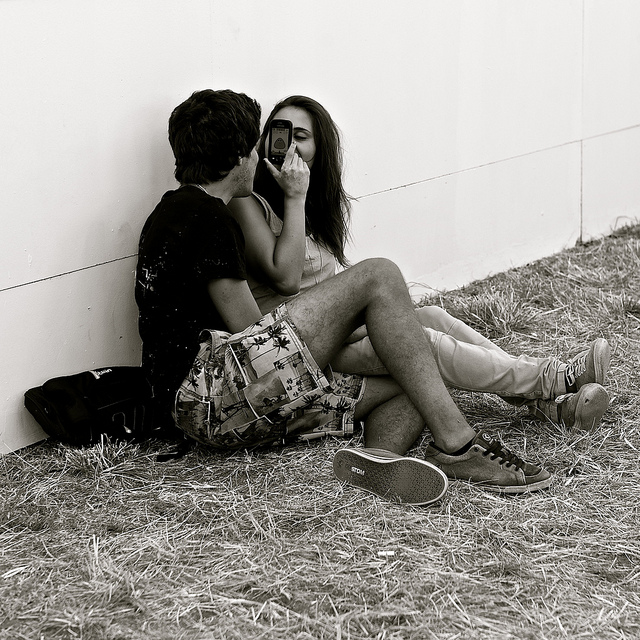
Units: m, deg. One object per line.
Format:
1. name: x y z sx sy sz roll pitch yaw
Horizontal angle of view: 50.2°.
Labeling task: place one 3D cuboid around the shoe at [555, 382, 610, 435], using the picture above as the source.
1. shoe: 0.914 0.306 2.394 0.173 0.189 0.079 5 13 23

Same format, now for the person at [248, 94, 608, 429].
1. person: 0.300 -0.293 2.646 1.512 1.318 0.685 -3 -7 29

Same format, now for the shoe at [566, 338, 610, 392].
1. shoe: 0.949 0.138 2.440 0.127 0.117 0.333 9 34 23

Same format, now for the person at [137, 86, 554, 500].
1. person: 0.020 -0.134 2.220 1.236 1.400 0.653 -6 5 17

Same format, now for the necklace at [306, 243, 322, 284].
1. necklace: -0.026 -0.239 2.813 0.064 0.140 0.160 0 13 -1

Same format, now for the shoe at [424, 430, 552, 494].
1. shoe: 0.517 0.410 2.175 0.424 0.231 0.151 1 14 9

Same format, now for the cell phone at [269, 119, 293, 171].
1. cell phone: -0.160 -0.705 2.698 0.090 0.208 0.023 1 47 -6
